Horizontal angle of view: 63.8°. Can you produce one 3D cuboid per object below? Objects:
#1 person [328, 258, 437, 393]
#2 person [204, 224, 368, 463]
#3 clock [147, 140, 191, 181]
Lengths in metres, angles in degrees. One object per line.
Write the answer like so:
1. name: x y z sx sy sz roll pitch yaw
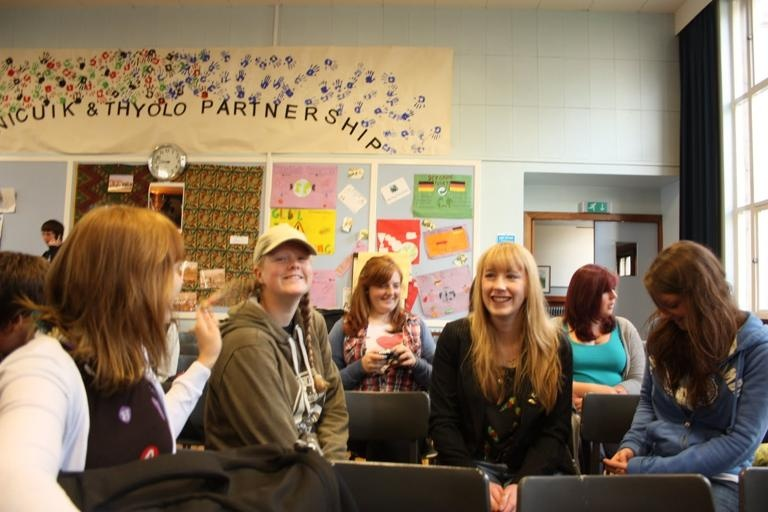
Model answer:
1. person: 0.029 0.502 4.405 0.670 0.979 0.532 3 -24 -10
2. person: -0.501 0.438 3.049 0.741 1.191 0.571 -1 2 -26
3. clock: -2.092 -0.935 6.067 0.379 0.399 0.119 1 -5 8
